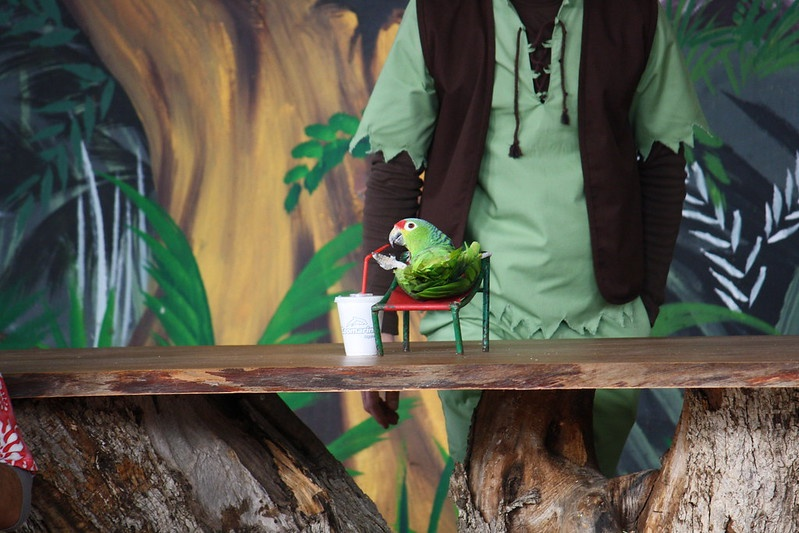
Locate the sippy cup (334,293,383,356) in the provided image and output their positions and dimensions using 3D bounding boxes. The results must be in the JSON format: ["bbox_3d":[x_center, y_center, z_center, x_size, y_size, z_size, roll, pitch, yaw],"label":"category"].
[{"bbox_3d":[-0.137,0.177,4.280,0.171,0.189,0.175,-2,-3,0],"label":"sippy cup"}]

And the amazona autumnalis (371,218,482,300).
[{"bbox_3d":[0.064,-0.030,4.314,0.297,0.229,0.134,-5,36,49],"label":"amazona autumnalis"}]

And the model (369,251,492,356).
[{"bbox_3d":[0.090,0.096,4.286,0.314,0.312,0.244,0,1,25],"label":"model"}]
